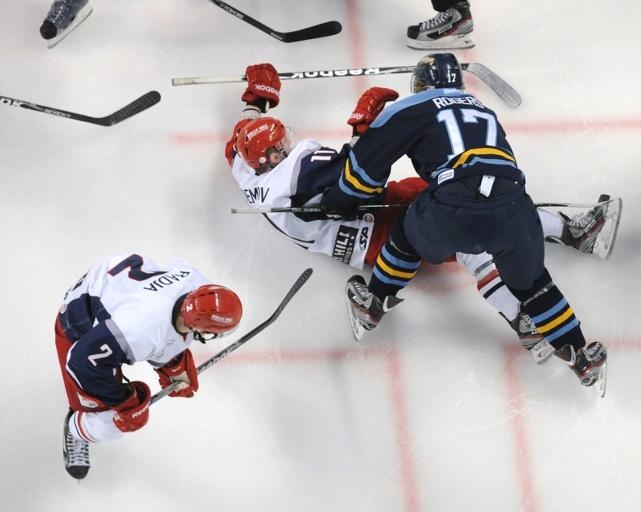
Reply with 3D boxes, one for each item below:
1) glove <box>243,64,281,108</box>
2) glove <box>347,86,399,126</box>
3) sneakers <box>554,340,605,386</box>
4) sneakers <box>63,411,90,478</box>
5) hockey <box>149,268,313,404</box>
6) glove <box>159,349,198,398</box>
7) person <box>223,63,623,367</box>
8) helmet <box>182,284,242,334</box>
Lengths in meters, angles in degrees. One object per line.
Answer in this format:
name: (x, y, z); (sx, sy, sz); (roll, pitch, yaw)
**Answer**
glove: (-0.377, -1.149, 4.888); (0.292, 0.272, 0.116); (-2, 18, -16)
glove: (0.355, -0.963, 4.751); (0.226, 0.128, 0.318); (42, 90, 26)
sneakers: (1.549, 0.645, 4.339); (0.356, 0.248, 0.120); (-46, 23, -26)
sneakers: (-1.431, 1.126, 4.387); (0.148, 0.403, 0.165); (-6, 10, -18)
hockey: (-0.533, 0.521, 4.316); (1.200, 0.133, 0.126); (-36, 39, -5)
glove: (-0.873, 0.662, 4.299); (0.227, 0.253, 0.280); (-25, 1, -13)
person: (0.602, -0.119, 4.901); (2.774, 1.220, 0.811); (2, 65, 22)
helmet: (-0.568, 0.283, 3.877); (0.310, 0.215, 0.284); (1, -12, -26)
